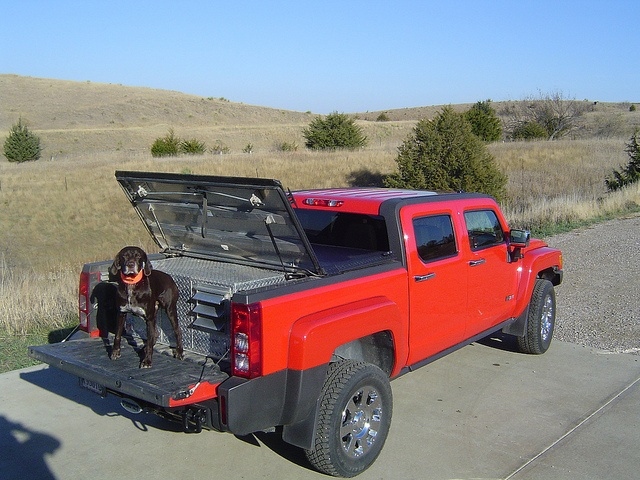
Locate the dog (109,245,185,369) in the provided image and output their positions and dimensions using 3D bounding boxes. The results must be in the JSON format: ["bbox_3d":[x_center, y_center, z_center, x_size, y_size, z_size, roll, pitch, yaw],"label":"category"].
[{"bbox_3d":[-1.621,0.564,4.238,0.828,1.009,0.557,10,16,40],"label":"dog"}]

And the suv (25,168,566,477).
[{"bbox_3d":[0.223,0.506,5.072,2.480,2.057,4.747,6,14,40],"label":"suv"}]
